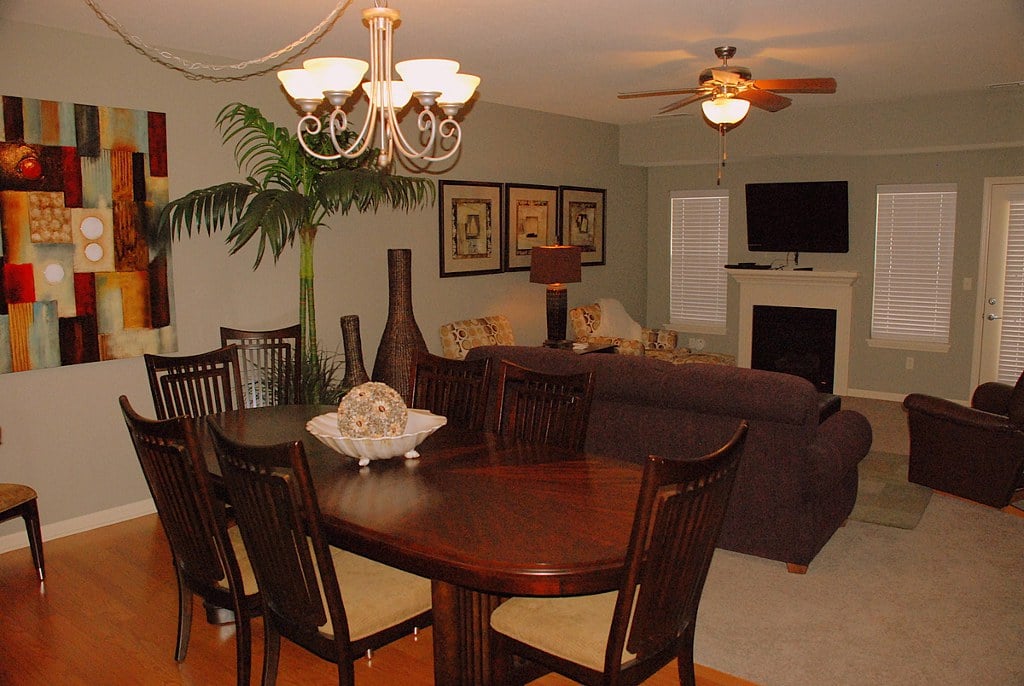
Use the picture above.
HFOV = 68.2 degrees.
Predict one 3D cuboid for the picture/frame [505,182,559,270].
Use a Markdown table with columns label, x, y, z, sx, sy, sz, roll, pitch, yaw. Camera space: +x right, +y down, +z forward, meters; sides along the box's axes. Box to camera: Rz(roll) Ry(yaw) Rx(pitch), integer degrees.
| label | x | y | z | sx | sy | sz | roll | pitch | yaw |
| --- | --- | --- | --- | --- | --- | --- | --- | --- | --- |
| picture/frame | 0.185 | -1.243 | 7.936 | 0.969 | 0.940 | 0.065 | -12 | 17 | -44 |

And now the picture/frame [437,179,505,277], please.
| label | x | y | z | sx | sy | sz | roll | pitch | yaw |
| --- | --- | --- | --- | --- | --- | --- | --- | --- | --- |
| picture/frame | -0.425 | -1.162 | 7.428 | 0.115 | 1.038 | 0.987 | 5 | 9 | 40 |

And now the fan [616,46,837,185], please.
| label | x | y | z | sx | sy | sz | roll | pitch | yaw |
| --- | --- | --- | --- | --- | --- | --- | --- | --- | --- |
| fan | 1.776 | -1.832 | 6.303 | 1.063 | 1.009 | 2.507 | 1 | 7 | 10 |

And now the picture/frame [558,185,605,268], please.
| label | x | y | z | sx | sy | sz | roll | pitch | yaw |
| --- | --- | --- | --- | --- | --- | --- | --- | --- | --- |
| picture/frame | 0.767 | -1.358 | 8.534 | 0.060 | 1.091 | 1.184 | 1 | 2 | 38 |

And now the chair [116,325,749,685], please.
| label | x | y | z | sx | sy | sz | roll | pitch | yaw |
| --- | --- | --- | --- | --- | --- | --- | --- | --- | --- |
| chair | -0.224 | 0.940 | 3.596 | 2.496 | 1.296 | 1.225 | 2 | 8 | 16 |

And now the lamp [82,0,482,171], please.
| label | x | y | z | sx | sy | sz | roll | pitch | yaw |
| --- | --- | --- | --- | --- | --- | --- | --- | --- | --- |
| lamp | -1.666 | -1.753 | 5.037 | 2.933 | 1.138 | 0.973 | 8 | 11 | 25 |

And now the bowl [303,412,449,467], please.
| label | x | y | z | sx | sy | sz | roll | pitch | yaw |
| --- | --- | --- | --- | --- | --- | --- | --- | --- | --- |
| bowl | -0.690 | 0.506 | 3.846 | 0.686 | 0.160 | 0.680 | 1 | 10 | 0 |

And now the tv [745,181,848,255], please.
| label | x | y | z | sx | sy | sz | roll | pitch | yaw |
| --- | --- | --- | --- | --- | --- | --- | --- | --- | --- |
| tv | 3.245 | -1.462 | 8.684 | 1.125 | 0.790 | 0.115 | 5 | 10 | 34 |

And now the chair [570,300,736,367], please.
| label | x | y | z | sx | sy | sz | roll | pitch | yaw |
| --- | --- | --- | --- | --- | --- | --- | --- | --- | --- |
| chair | 1.422 | -0.083 | 8.351 | 1.309 | 0.919 | 1.009 | 1 | 6 | 34 |
